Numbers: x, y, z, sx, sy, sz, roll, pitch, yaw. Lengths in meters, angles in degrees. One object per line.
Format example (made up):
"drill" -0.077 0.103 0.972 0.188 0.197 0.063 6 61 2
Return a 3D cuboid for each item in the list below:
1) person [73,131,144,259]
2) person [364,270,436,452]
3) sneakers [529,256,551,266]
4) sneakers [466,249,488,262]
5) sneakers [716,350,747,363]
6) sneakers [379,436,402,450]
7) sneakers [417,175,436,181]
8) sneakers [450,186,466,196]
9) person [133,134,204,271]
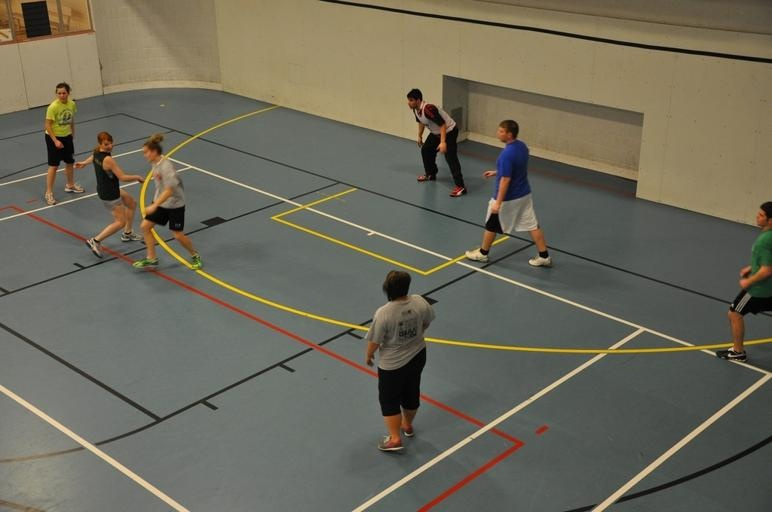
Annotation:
"person" -5.428 -1.258 12.524 1.374 2.350 1.120 -1 25 -16
"person" 0.165 1.389 8.233 0.829 2.556 0.425 -2 25 -9
"sneakers" 2.943 0.104 12.167 0.371 0.178 0.172 7 42 20
"sneakers" 1.775 -0.021 12.424 0.452 0.224 0.188 15 37 11
"sneakers" 5.393 1.547 9.973 0.401 0.184 0.181 10 41 19
"sneakers" 0.079 2.533 8.604 0.311 0.144 0.151 3 30 21
"sneakers" 1.007 -1.840 15.434 0.402 0.178 0.168 2 44 -4
"sneakers" 1.694 -1.490 14.787 0.169 0.180 0.406 13 22 38
"person" -4.156 -1.010 11.916 1.120 2.519 1.198 -9 27 -22
